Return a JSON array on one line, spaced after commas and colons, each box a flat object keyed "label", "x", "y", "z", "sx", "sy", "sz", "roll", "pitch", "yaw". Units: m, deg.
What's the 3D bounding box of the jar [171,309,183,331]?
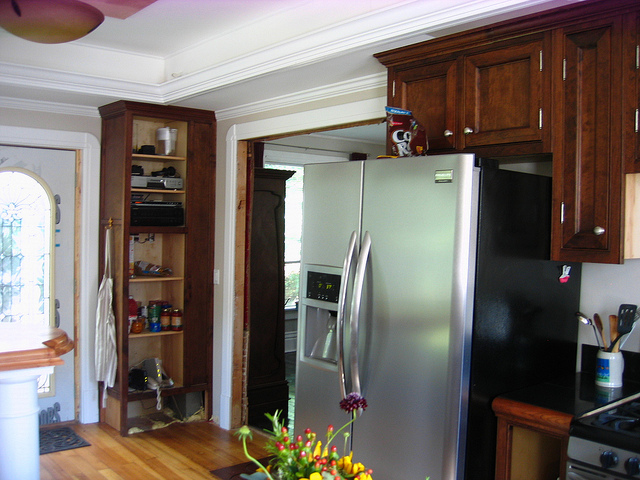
[{"label": "jar", "x": -1.321, "y": 0.734, "z": 4.789, "sx": 0.099, "sy": 0.180, "sz": 0.070, "roll": 1, "pitch": 2, "yaw": -19}]

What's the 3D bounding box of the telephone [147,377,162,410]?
[{"label": "telephone", "x": -1.503, "y": 1.389, "z": 4.707, "sx": 0.074, "sy": 0.280, "sz": 0.303, "roll": 1, "pitch": -3, "yaw": -17}]

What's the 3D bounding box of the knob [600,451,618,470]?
[{"label": "knob", "x": 1.229, "y": 0.927, "z": 2.205, "sx": 0.068, "sy": 0.091, "sz": 0.031, "roll": -1, "pitch": -6, "yaw": 28}]

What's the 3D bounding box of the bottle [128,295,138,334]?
[{"label": "bottle", "x": -1.713, "y": 0.669, "z": 4.749, "sx": 0.081, "sy": 0.307, "sz": 0.392, "roll": 1, "pitch": 2, "yaw": -20}]

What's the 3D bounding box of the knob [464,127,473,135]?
[{"label": "knob", "x": 0.787, "y": -0.580, "z": 2.767, "sx": 0.016, "sy": 0.037, "sz": 0.046, "roll": 0, "pitch": 2, "yaw": -44}]

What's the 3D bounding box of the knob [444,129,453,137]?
[{"label": "knob", "x": 0.702, "y": -0.583, "z": 2.842, "sx": 0.030, "sy": 0.041, "sz": 0.017, "roll": 1, "pitch": -14, "yaw": 14}]

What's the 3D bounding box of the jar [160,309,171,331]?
[{"label": "jar", "x": -1.426, "y": 0.728, "z": 4.801, "sx": 0.084, "sy": 0.181, "sz": 0.051, "roll": 1, "pitch": 2, "yaw": -21}]

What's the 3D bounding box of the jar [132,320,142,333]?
[{"label": "jar", "x": -1.654, "y": 0.774, "z": 4.680, "sx": 0.097, "sy": 0.094, "sz": 0.095, "roll": 1, "pitch": -8, "yaw": 0}]

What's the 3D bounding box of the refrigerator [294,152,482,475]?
[{"label": "refrigerator", "x": 0.292, "y": 0.382, "z": 2.771, "sx": 0.411, "sy": 1.615, "sz": 0.995, "roll": 1, "pitch": 2, "yaw": -37}]

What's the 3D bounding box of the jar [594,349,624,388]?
[{"label": "jar", "x": 1.590, "y": 0.685, "z": 2.818, "sx": 0.198, "sy": 0.185, "sz": 0.127, "roll": 0, "pitch": 1, "yaw": -18}]

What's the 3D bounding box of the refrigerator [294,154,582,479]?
[{"label": "refrigerator", "x": 0.540, "y": 0.402, "z": 2.842, "sx": 1.456, "sy": 1.645, "sz": 0.682, "roll": 2, "pitch": 2, "yaw": 20}]

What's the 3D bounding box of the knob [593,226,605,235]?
[{"label": "knob", "x": 1.311, "y": -0.046, "z": 2.445, "sx": 0.011, "sy": 0.033, "sz": 0.038, "roll": -4, "pitch": 1, "yaw": -42}]

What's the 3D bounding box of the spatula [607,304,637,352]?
[{"label": "spatula", "x": 1.624, "y": 0.428, "z": 2.784, "sx": 0.101, "sy": 0.344, "sz": 0.053, "roll": 13, "pitch": -2, "yaw": 24}]

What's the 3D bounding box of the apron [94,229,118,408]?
[{"label": "apron", "x": -1.865, "y": 0.609, "z": 4.584, "sx": 0.224, "sy": 1.403, "sz": 0.141, "roll": 3, "pitch": 2, "yaw": 32}]
